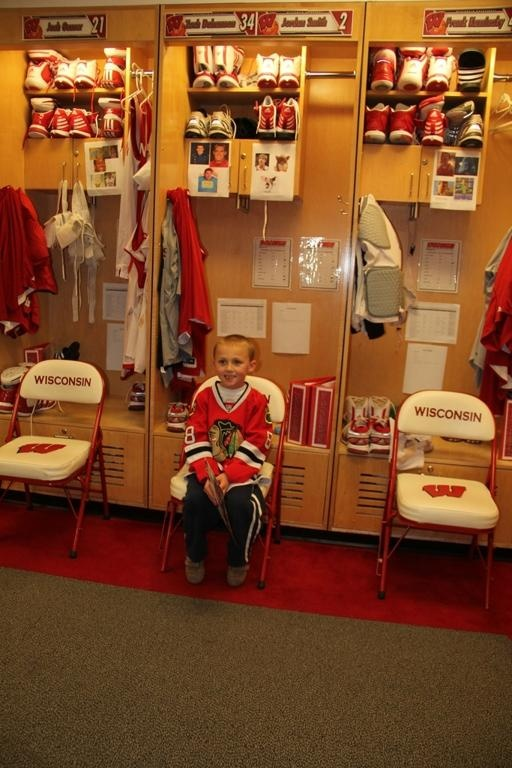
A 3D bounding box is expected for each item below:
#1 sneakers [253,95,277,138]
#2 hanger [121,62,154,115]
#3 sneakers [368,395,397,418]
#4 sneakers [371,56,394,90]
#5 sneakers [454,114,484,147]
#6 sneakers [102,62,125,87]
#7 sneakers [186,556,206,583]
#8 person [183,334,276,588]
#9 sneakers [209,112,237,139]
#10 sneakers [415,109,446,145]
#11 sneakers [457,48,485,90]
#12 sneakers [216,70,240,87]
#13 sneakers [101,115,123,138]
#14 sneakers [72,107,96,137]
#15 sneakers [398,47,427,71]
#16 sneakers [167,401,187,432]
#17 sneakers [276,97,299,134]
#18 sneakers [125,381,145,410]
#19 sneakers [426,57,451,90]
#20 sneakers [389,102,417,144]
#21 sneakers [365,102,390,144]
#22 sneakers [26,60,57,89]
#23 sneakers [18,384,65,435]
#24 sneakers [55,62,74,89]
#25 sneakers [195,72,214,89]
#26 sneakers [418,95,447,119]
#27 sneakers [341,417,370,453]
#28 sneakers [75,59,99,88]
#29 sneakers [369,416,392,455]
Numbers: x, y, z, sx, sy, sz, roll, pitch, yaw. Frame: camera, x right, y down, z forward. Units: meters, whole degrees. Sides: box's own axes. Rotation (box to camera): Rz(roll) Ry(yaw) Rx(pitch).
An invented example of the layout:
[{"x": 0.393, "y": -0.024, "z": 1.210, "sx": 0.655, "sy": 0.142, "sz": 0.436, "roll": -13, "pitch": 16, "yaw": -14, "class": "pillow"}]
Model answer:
[{"x": 0.051, "y": -1.290, "z": 2.690, "sx": 0.093, "sy": 0.208, "sz": 0.126, "roll": 2, "pitch": 6, "yaw": 0, "class": "sneakers"}, {"x": -0.618, "y": -1.559, "z": 2.875, "sx": 0.149, "sy": 0.285, "sz": 0.328, "roll": 1, "pitch": 7, "yaw": -14, "class": "hanger"}, {"x": 0.596, "y": 0.109, "z": 2.634, "sx": 0.062, "sy": 0.080, "sz": 0.193, "roll": 2, "pitch": 10, "yaw": 3, "class": "sneakers"}, {"x": 0.580, "y": -1.422, "z": 2.532, "sx": 0.082, "sy": 0.166, "sz": 0.074, "roll": 3, "pitch": -10, "yaw": 4, "class": "sneakers"}, {"x": 0.961, "y": -1.134, "z": 2.482, "sx": 0.102, "sy": 0.159, "sz": 0.091, "roll": 4, "pitch": 6, "yaw": 14, "class": "sneakers"}, {"x": -0.751, "y": -1.620, "z": 2.927, "sx": 0.110, "sy": 0.140, "sz": 0.136, "roll": 8, "pitch": 26, "yaw": 3, "class": "sneakers"}, {"x": -0.238, "y": 0.724, "z": 2.171, "sx": 0.073, "sy": 0.126, "sz": 0.110, "roll": 1, "pitch": 6, "yaw": -9, "class": "sneakers"}, {"x": -0.116, "y": 0.300, "z": 2.228, "sx": 0.354, "sy": 0.974, "sz": 0.526, "roll": 2, "pitch": 6, "yaw": 0, "class": "person"}, {"x": -0.170, "y": -1.275, "z": 2.757, "sx": 0.139, "sy": 0.141, "sz": 0.146, "roll": 2, "pitch": 6, "yaw": -3, "class": "sneakers"}, {"x": 0.805, "y": -1.155, "z": 2.542, "sx": 0.073, "sy": 0.105, "sz": 0.238, "roll": 7, "pitch": 58, "yaw": 10, "class": "sneakers"}, {"x": 0.976, "y": -1.423, "z": 2.520, "sx": 0.077, "sy": 0.238, "sz": 0.096, "roll": 4, "pitch": -21, "yaw": 13, "class": "sneakers"}, {"x": -0.139, "y": -1.509, "z": 2.756, "sx": 0.118, "sy": 0.085, "sz": 0.114, "roll": 2, "pitch": 6, "yaw": -6, "class": "sneakers"}, {"x": -0.740, "y": -1.335, "z": 2.871, "sx": 0.081, "sy": 0.119, "sz": 0.115, "roll": -2, "pitch": -29, "yaw": -3, "class": "sneakers"}, {"x": -0.935, "y": -1.404, "z": 3.010, "sx": 0.135, "sy": 0.166, "sz": 0.096, "roll": 0, "pitch": 6, "yaw": -20, "class": "sneakers"}, {"x": 0.728, "y": -1.505, "z": 2.565, "sx": 0.093, "sy": 0.068, "sz": 0.162, "roll": -3, "pitch": 31, "yaw": -2, "class": "sneakers"}, {"x": -0.374, "y": 0.169, "z": 2.733, "sx": 0.085, "sy": 0.135, "sz": 0.138, "roll": -1, "pitch": 47, "yaw": 0, "class": "sneakers"}, {"x": 0.151, "y": -1.283, "z": 2.667, "sx": 0.106, "sy": 0.198, "sz": 0.113, "roll": 4, "pitch": 6, "yaw": 14, "class": "sneakers"}, {"x": -0.655, "y": 0.079, "z": 3.042, "sx": 0.084, "sy": 0.171, "sz": 0.078, "roll": 5, "pitch": -10, "yaw": -11, "class": "sneakers"}, {"x": 0.840, "y": -1.414, "z": 2.566, "sx": 0.067, "sy": 0.221, "sz": 0.093, "roll": 6, "pitch": -9, "yaw": 8, "class": "sneakers"}, {"x": 0.682, "y": -1.205, "z": 2.586, "sx": 0.081, "sy": 0.118, "sz": 0.258, "roll": 3, "pitch": 32, "yaw": 10, "class": "sneakers"}, {"x": 0.567, "y": -1.220, "z": 2.610, "sx": 0.078, "sy": 0.106, "sz": 0.246, "roll": 2, "pitch": 33, "yaw": 6, "class": "sneakers"}, {"x": -1.189, "y": -1.701, "z": 3.069, "sx": 0.075, "sy": 0.103, "sz": 0.237, "roll": 2, "pitch": 32, "yaw": -7, "class": "sneakers"}, {"x": -1.144, "y": 0.132, "z": 2.937, "sx": 0.212, "sy": 0.111, "sz": 0.161, "roll": 14, "pitch": 30, "yaw": 6, "class": "sneakers"}, {"x": -1.023, "y": -1.649, "z": 2.972, "sx": 0.062, "sy": 0.089, "sz": 0.188, "roll": 0, "pitch": 29, "yaw": -5, "class": "sneakers"}, {"x": -0.258, "y": -1.511, "z": 2.767, "sx": 0.105, "sy": 0.077, "sz": 0.080, "roll": 2, "pitch": 6, "yaw": -6, "class": "sneakers"}, {"x": 0.833, "y": -1.288, "z": 2.639, "sx": 0.064, "sy": 0.080, "sz": 0.182, "roll": 2, "pitch": -15, "yaw": -4, "class": "sneakers"}, {"x": 0.461, "y": 0.237, "z": 2.507, "sx": 0.074, "sy": 0.088, "sz": 0.181, "roll": 1, "pitch": 11, "yaw": 3, "class": "sneakers"}, {"x": -0.910, "y": -1.660, "z": 2.974, "sx": 0.121, "sy": 0.155, "sz": 0.118, "roll": 0, "pitch": 6, "yaw": -19, "class": "sneakers"}, {"x": 0.557, "y": 0.238, "z": 2.489, "sx": 0.064, "sy": 0.094, "sz": 0.193, "roll": 1, "pitch": 10, "yaw": 4, "class": "sneakers"}]
